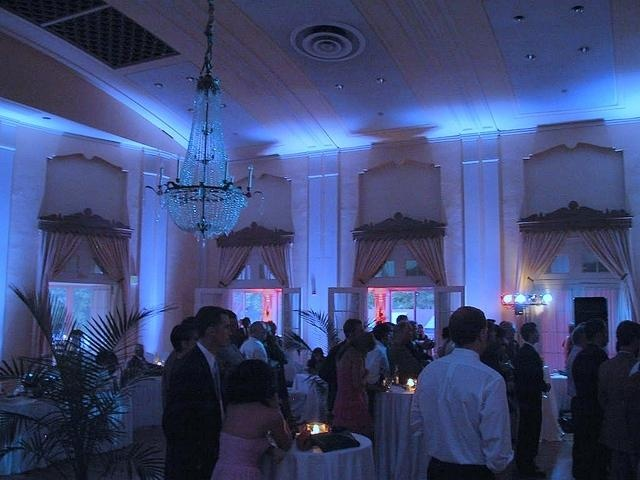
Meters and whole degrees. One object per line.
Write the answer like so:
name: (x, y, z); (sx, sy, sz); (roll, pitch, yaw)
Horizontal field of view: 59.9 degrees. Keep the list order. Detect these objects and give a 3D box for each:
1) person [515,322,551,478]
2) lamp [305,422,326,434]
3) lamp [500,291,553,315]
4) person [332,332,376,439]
person: (2.639, 2.137, 6.960); (0.405, 1.675, 0.449); (-2, -7, 21)
lamp: (-0.028, 1.706, 5.121); (0.122, 0.059, 0.150); (6, -13, -27)
lamp: (3.987, 1.173, 10.720); (0.590, 0.308, 0.587); (8, -11, -36)
person: (0.355, 1.563, 6.029); (0.435, 1.122, 0.369); (0, -7, 1)
